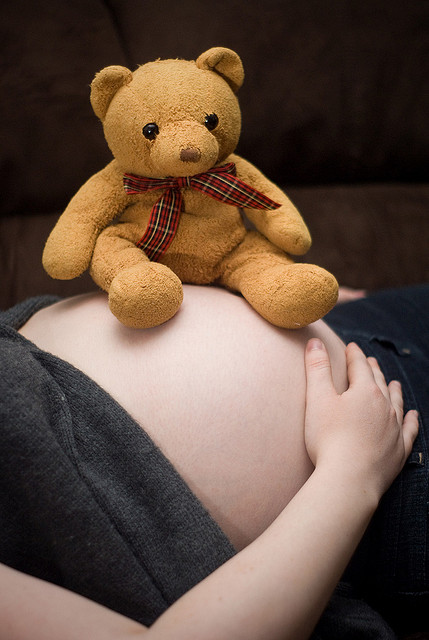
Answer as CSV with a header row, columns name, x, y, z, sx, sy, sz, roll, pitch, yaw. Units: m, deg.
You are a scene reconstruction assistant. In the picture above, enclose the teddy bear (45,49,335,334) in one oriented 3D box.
name,x,y,z,sx,sy,sz,roll,pitch,yaw
teddy bear,-0.037,-0.149,0.728,0.344,0.287,0.255,-5,36,-8
